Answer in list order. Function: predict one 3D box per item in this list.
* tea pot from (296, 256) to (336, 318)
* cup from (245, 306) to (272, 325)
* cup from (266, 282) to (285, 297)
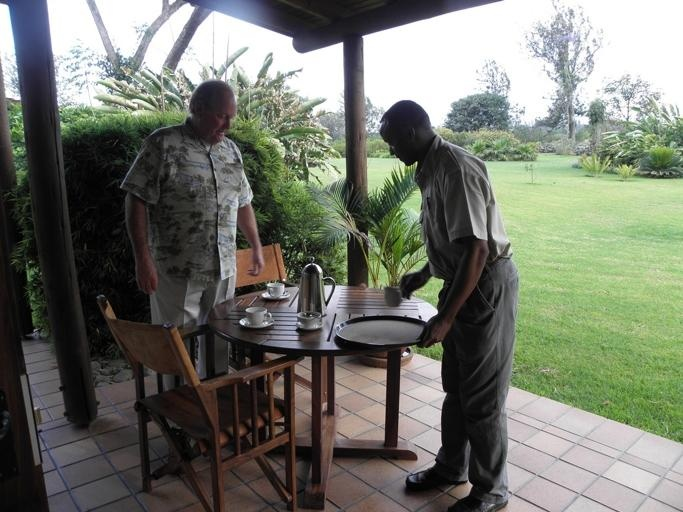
[{"bbox_3d":[-0.164,0.202,2.613,0.166,0.294,0.191,-5,12,-16],"label":"tea pot"},{"bbox_3d":[-0.471,0.320,2.483,0.087,0.058,0.111,-2,10,-22],"label":"cup"},{"bbox_3d":[-0.449,0.216,3.008,0.102,0.069,0.080,-6,14,-22],"label":"cup"}]
